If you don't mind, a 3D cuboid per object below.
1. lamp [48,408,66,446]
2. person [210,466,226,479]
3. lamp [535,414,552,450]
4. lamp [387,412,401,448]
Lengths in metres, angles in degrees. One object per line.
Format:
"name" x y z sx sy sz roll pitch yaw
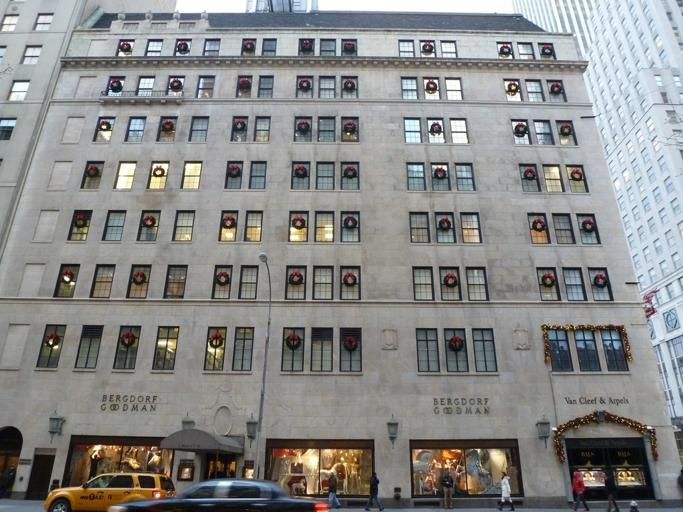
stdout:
"lamp" -20.452 12.028 39.772 1.174 2.319 1.075 1 -25 -3
"person" -8.777 15.266 39.601 1.270 0.672 0.487 -9 -27 17
"lamp" 14.344 12.297 39.361 1.131 2.073 1.170 -3 -25 5
"lamp" 3.650 12.318 39.541 0.814 2.266 0.896 -2 -25 4
